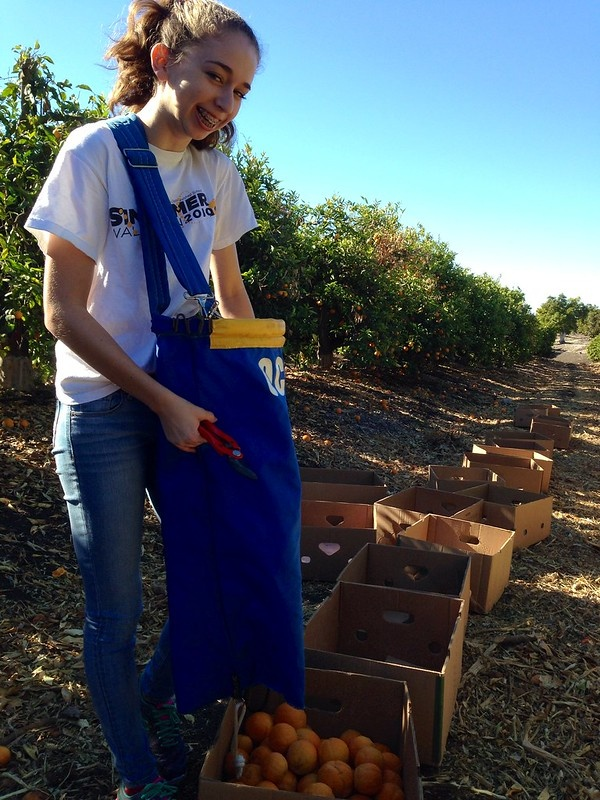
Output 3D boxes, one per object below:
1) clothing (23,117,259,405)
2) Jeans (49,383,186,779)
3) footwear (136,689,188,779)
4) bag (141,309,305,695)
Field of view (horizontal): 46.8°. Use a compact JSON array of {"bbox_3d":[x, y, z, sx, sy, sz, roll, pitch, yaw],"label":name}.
[{"bbox_3d":[-0.495,-0.323,1.864,0.503,0.744,0.498,16,19,34],"label":"clothing"},{"bbox_3d":[-0.417,0.481,1.878,0.394,1.031,0.301,-11,4,-44],"label":"Jeans"},{"bbox_3d":[-0.414,1.012,2.179,0.116,0.130,0.327,5,18,-25],"label":"footwear"},{"bbox_3d":[-0.166,0.300,1.929,0.390,1.045,0.498,-1,0,9],"label":"bag"}]
